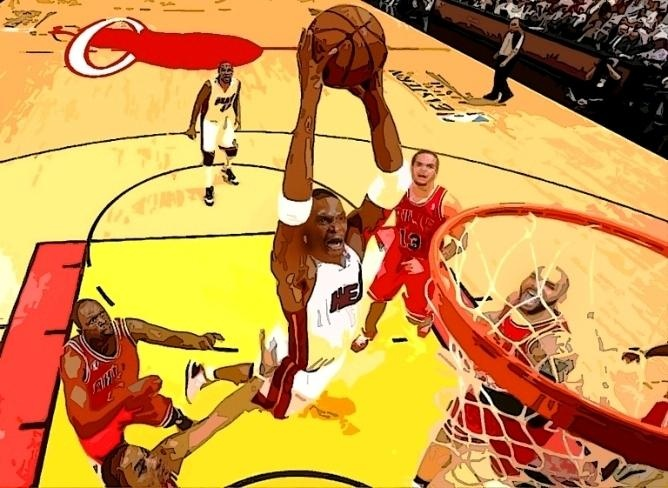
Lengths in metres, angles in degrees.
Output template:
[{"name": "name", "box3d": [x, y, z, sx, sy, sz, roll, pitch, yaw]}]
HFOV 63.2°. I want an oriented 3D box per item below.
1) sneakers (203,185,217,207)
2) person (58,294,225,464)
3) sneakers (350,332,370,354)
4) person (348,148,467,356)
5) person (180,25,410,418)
[{"name": "sneakers", "box3d": [-1.213, -0.463, 5.216, 0.079, 0.113, 0.228, -1, 29, -5]}, {"name": "person", "box3d": [-1.287, 0.909, 3.473, 0.574, 1.295, 0.987, 26, 28, 32]}, {"name": "sneakers", "box3d": [0.192, 0.747, 4.052, 0.099, 0.054, 0.138, 45, 79, 2]}, {"name": "person", "box3d": [0.583, 0.099, 4.032, 0.656, 1.599, 0.612, 9, 29, 8]}, {"name": "person", "box3d": [-0.147, 0.093, 3.106, 0.761, 2.413, 0.565, 9, 31, -15]}]
